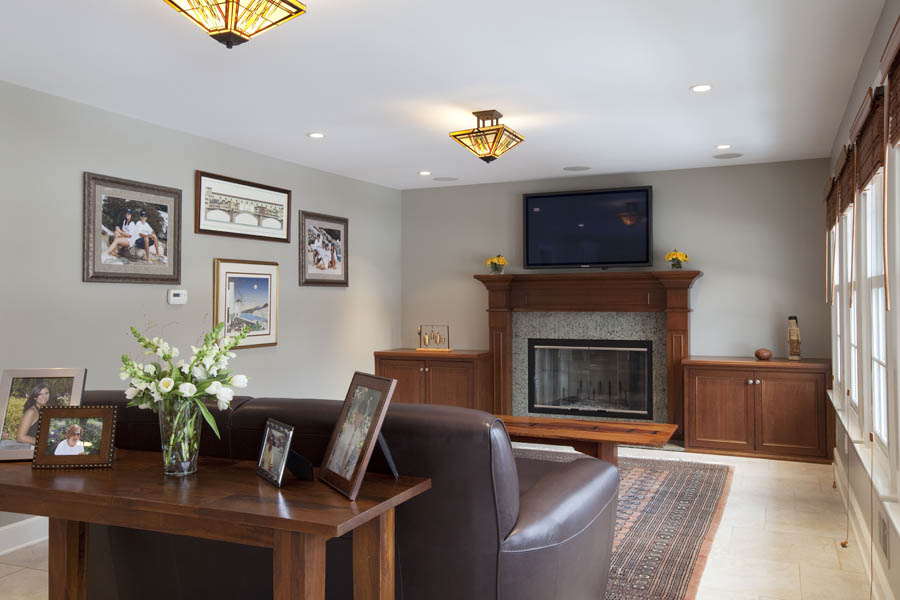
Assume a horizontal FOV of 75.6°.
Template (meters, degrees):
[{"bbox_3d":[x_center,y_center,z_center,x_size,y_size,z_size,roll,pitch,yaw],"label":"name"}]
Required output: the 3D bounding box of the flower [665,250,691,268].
[{"bbox_3d":[2.703,-0.499,6.893,0.234,0.226,0.056,1,-4,7],"label":"flower"}]

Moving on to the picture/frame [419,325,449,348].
[{"bbox_3d":[-0.200,0.513,8.107,0.317,0.232,0.031,0,0,31],"label":"picture/frame"}]

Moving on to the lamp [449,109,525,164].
[{"bbox_3d":[0.333,-1.443,5.088,0.576,0.397,0.465,0,5,11],"label":"lamp"}]

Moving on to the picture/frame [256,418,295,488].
[{"bbox_3d":[-0.756,0.676,2.550,0.103,0.218,0.228,11,-9,-44],"label":"picture/frame"}]

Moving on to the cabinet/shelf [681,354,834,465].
[{"bbox_3d":[3.332,1.204,6.251,1.128,0.833,0.438,-1,-5,21],"label":"cabinet/shelf"}]

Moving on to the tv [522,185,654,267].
[{"bbox_3d":[1.776,-0.924,7.236,1.080,0.659,0.108,-2,1,22],"label":"tv"}]

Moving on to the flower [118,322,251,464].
[{"bbox_3d":[-1.449,0.494,3.112,0.674,0.733,0.650,2,-4,-9],"label":"flower"}]

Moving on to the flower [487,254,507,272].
[{"bbox_3d":[0.619,-0.503,7.649,0.245,0.166,0.249,-8,-10,41],"label":"flower"}]

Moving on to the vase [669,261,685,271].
[{"bbox_3d":[2.647,-0.403,6.812,0.099,0.048,0.133,3,-5,-24],"label":"vase"}]
